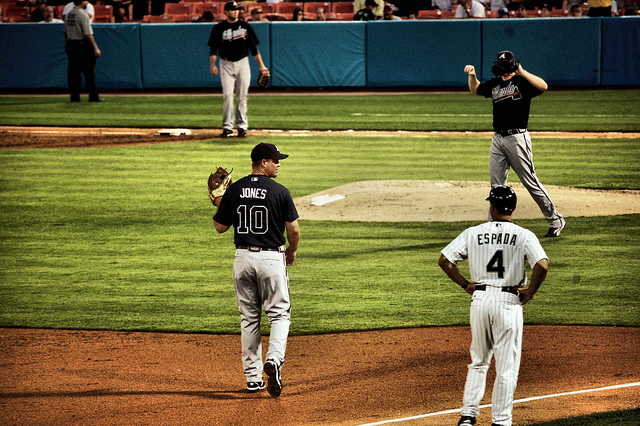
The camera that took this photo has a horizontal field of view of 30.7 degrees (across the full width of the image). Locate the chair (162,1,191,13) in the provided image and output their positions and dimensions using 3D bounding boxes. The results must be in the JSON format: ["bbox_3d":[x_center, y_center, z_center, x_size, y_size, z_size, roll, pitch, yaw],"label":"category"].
[{"bbox_3d":[-4.505,-6.536,36.983,0.837,0.316,0.424,-1,11,-2],"label":"chair"}]

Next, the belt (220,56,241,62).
[{"bbox_3d":[-1.922,-3.288,24.779,0.396,0.123,0.087,1,12,13],"label":"belt"}]

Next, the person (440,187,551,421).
[{"bbox_3d":[2.426,1.234,15.991,1.348,3.065,0.883,-1,12,2],"label":"person"}]

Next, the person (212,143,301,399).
[{"bbox_3d":[-0.873,0.798,16.732,1.193,3.514,1.468,-2,12,-5],"label":"person"}]

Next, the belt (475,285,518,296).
[{"bbox_3d":[2.433,1.038,15.988,0.571,0.122,0.044,1,12,11],"label":"belt"}]

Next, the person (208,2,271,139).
[{"bbox_3d":[-1.767,-3.062,25.249,1.239,2.979,0.985,-2,12,-4],"label":"person"}]

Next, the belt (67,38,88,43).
[{"bbox_3d":[-6.187,-4.414,29.752,0.518,0.094,0.105,1,11,13],"label":"belt"}]

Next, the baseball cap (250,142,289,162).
[{"bbox_3d":[-0.741,-0.897,16.833,0.430,0.173,0.270,-4,8,-2],"label":"baseball cap"}]

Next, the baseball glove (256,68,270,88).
[{"bbox_3d":[-1.228,-2.987,25.572,0.279,0.159,0.435,1,-9,-2],"label":"baseball glove"}]

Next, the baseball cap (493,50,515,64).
[{"bbox_3d":[3.103,-2.579,19.181,0.353,0.155,0.207,-5,5,-26],"label":"baseball cap"}]
